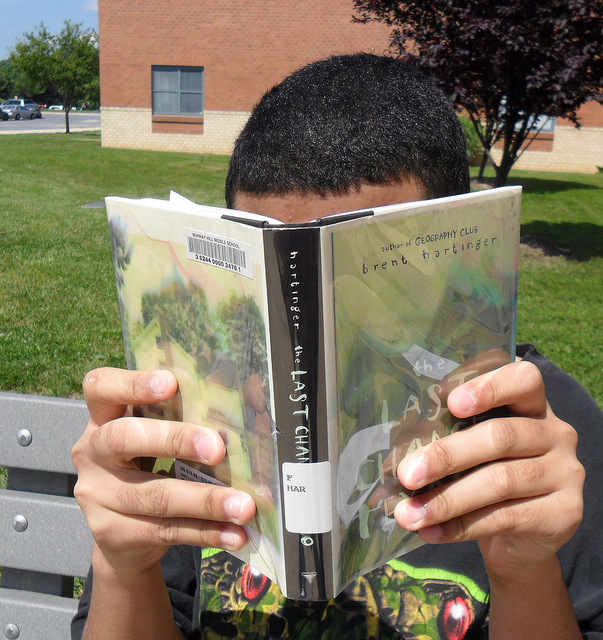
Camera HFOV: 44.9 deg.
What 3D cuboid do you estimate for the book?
[{"bbox_3d":[0.000,0.049,1.560,0.673,0.977,0.637,-2,6,-9],"label":"book"}]
